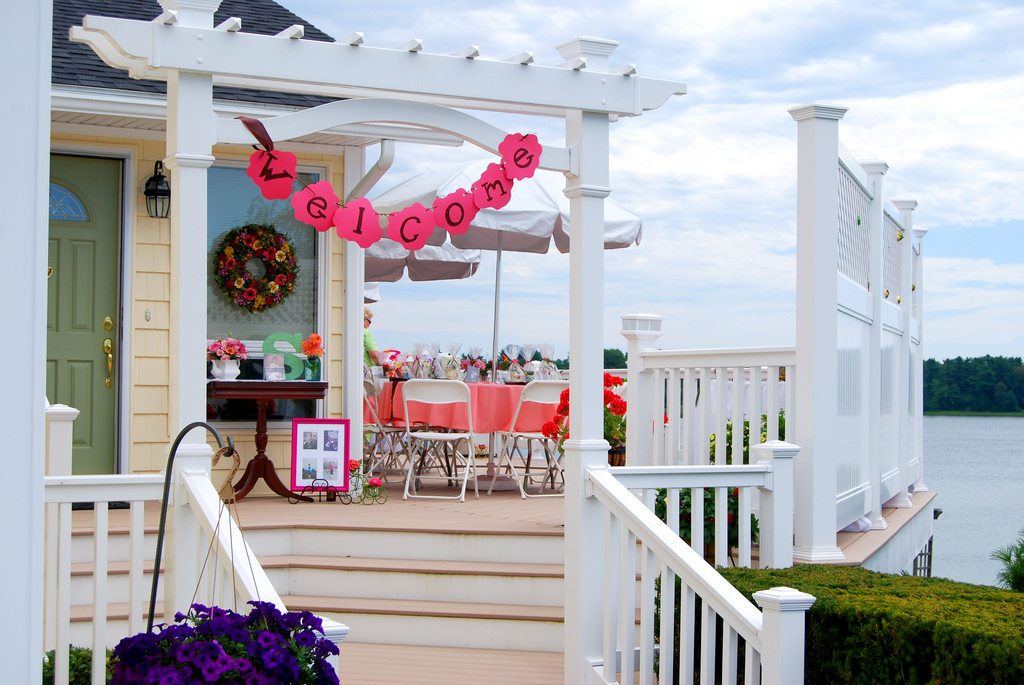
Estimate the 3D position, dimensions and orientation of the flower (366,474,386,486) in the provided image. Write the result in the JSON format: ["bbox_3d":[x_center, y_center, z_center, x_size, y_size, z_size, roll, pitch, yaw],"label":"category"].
[{"bbox_3d":[-1.326,1.322,16.902,0.165,0.102,0.251,1,1,-5],"label":"flower"}]

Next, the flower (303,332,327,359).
[{"bbox_3d":[-1.947,0.027,17.115,0.204,0.243,0.382,1,1,-7],"label":"flower"}]

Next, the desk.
[{"bbox_3d":[-2.464,0.944,17.238,1.093,1.125,1.126,1,-3,-15],"label":"desk"}]

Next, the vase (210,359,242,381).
[{"bbox_3d":[-2.753,0.250,16.828,0.268,0.197,0.349,1,1,-10],"label":"vase"}]

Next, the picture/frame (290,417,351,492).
[{"bbox_3d":[-1.845,1.069,16.764,0.629,0.810,0.069,1,-4,-12],"label":"picture/frame"}]

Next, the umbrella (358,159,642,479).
[{"bbox_3d":[-0.243,-0.770,18.946,2.143,1.583,2.360,-11,0,5],"label":"umbrella"}]

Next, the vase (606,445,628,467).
[{"bbox_3d":[0.955,1.049,16.276,0.190,0.196,0.197,1,-6,-12],"label":"vase"}]

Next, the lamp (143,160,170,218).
[{"bbox_3d":[-3.415,-1.454,16.790,0.228,0.554,0.119,0,1,-14],"label":"lamp"}]

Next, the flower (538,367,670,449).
[{"bbox_3d":[0.754,0.664,16.259,0.797,0.940,0.820,6,-10,-36],"label":"flower"}]

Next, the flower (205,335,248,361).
[{"bbox_3d":[-2.747,0.056,16.795,0.342,0.203,0.216,1,1,-11],"label":"flower"}]
